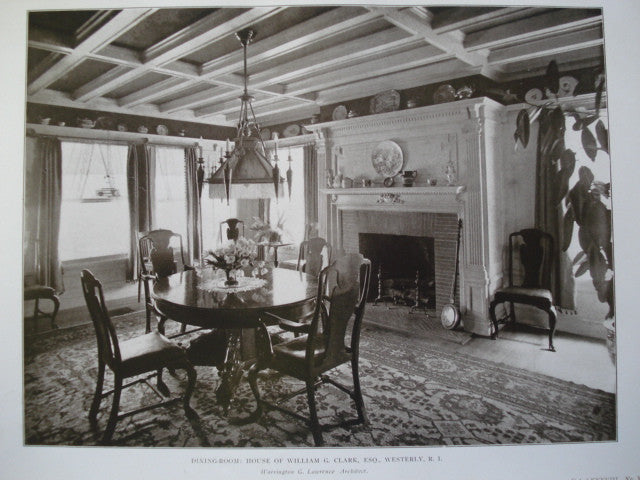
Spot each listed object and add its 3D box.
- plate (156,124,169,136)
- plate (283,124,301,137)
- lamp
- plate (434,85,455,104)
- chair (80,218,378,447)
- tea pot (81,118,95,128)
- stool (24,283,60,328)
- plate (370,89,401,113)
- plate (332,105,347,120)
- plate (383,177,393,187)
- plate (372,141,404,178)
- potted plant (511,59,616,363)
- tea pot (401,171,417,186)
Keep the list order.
[{"bbox_3d":[-2.134,-1.497,6.447,0.065,0.159,0.155,1,6,28],"label":"plate"},{"bbox_3d":[-0.405,-1.552,6.724,0.194,0.193,0.052,-16,-16,30],"label":"plate"},{"bbox_3d":[-0.611,-1.049,3.952,0.766,1.343,0.707,5,7,33],"label":"lamp"},{"bbox_3d":[1.269,-1.506,4.863,0.238,0.188,0.040,2,7,39],"label":"plate"},{"bbox_3d":[-0.607,0.693,3.574,1.623,0.896,1.631,-1,1,-36],"label":"chair"},{"bbox_3d":[-2.746,-1.401,5.659,0.095,0.055,0.119,21,21,31],"label":"tea pot"},{"bbox_3d":[-2.444,0.580,4.198,0.329,0.319,0.474,-4,9,-41],"label":"stool"},{"bbox_3d":[0.717,-1.540,5.252,0.368,0.238,0.073,3,7,42],"label":"plate"},{"bbox_3d":[0.239,-1.540,5.689,0.057,0.179,0.243,-6,6,-35],"label":"plate"},{"bbox_3d":[0.754,-0.636,5.254,0.096,0.101,0.097,0,0,30],"label":"plate"},{"bbox_3d":[0.738,-0.894,5.249,0.355,0.372,0.085,13,19,33],"label":"plate"},{"bbox_3d":[2.135,-0.348,3.975,0.494,2.316,1.505,-2,5,-3],"label":"potted plant"},{"bbox_3d":[0.949,-0.660,5.068,0.153,0.137,0.127,0,4,-17],"label":"tea pot"}]
